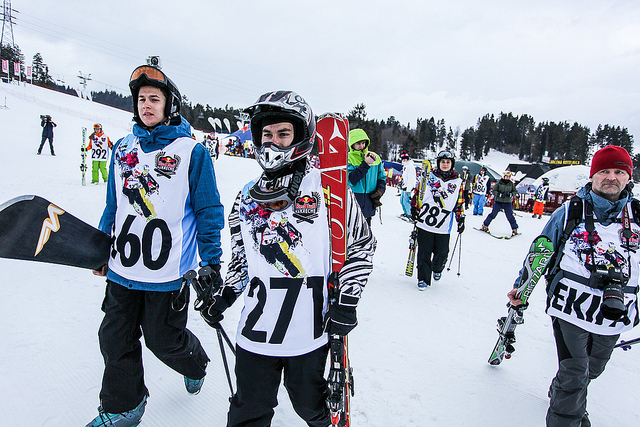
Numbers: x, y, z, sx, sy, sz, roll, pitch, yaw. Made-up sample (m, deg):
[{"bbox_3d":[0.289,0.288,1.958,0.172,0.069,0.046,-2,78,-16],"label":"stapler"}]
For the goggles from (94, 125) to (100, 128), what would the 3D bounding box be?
[{"bbox_3d":[-6.887,-2.689,14.065,0.146,0.081,0.207,-2,13,-32],"label":"goggles"}]

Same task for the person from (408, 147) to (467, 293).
[{"bbox_3d":[2.296,0.093,9.201,1.021,2.711,0.807,-3,13,-35],"label":"person"}]

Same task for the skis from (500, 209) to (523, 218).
[{"bbox_3d":[7.480,0.010,17.894,0.385,0.107,0.214,34,-11,-6],"label":"skis"}]

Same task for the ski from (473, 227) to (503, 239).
[{"bbox_3d":[5.531,0.662,14.653,0.088,0.071,0.656,-17,43,-38],"label":"ski"}]

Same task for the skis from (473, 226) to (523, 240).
[{"bbox_3d":[5.831,0.659,15.068,2.148,0.192,0.247,3,10,-13],"label":"skis"}]

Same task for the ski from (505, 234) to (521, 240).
[{"bbox_3d":[6.093,0.750,14.641,0.164,0.050,0.786,14,14,40],"label":"ski"}]

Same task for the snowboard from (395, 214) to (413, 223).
[{"bbox_3d":[2.960,0.115,16.378,0.234,0.349,0.741,-13,19,-27],"label":"snowboard"}]
